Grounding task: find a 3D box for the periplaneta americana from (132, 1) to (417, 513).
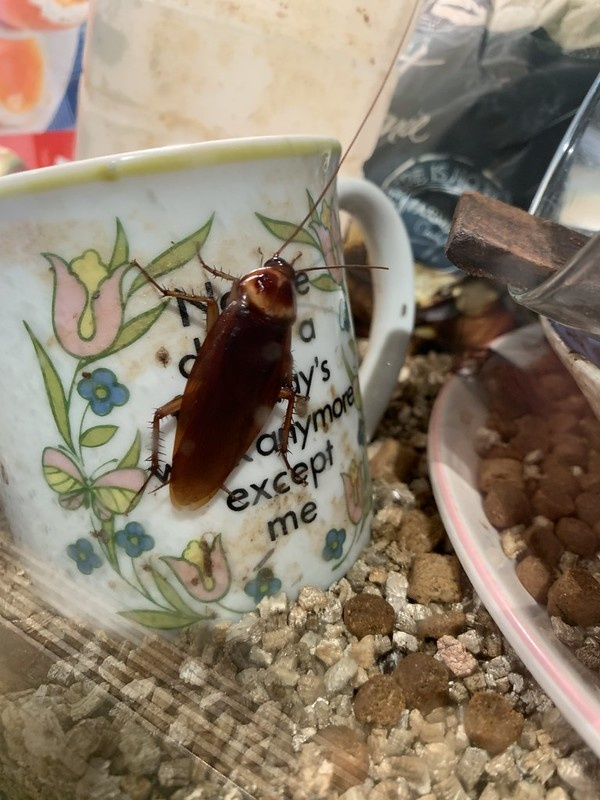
[{"bbox_3d":[-0.016,-0.046,0.533,0.117,0.207,0.028,29,-18,-34],"label":"periplaneta americana"}]
